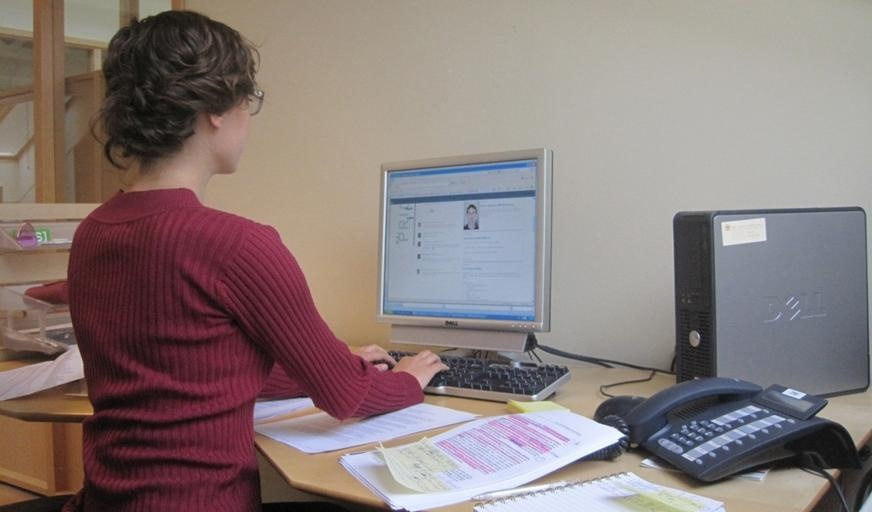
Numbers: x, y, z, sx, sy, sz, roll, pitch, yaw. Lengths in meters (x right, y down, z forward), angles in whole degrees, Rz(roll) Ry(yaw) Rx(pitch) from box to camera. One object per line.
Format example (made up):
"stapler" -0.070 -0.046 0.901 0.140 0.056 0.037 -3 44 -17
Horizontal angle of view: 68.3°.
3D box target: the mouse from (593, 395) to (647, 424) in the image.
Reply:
"mouse" 0.484 0.395 1.696 0.101 0.033 0.070 -22 0 5

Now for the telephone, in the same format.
"telephone" 0.771 0.417 1.625 0.528 0.147 0.538 -8 1 -35

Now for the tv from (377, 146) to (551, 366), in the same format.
"tv" 0.085 -0.011 2.131 0.722 0.633 0.099 0 -3 44
